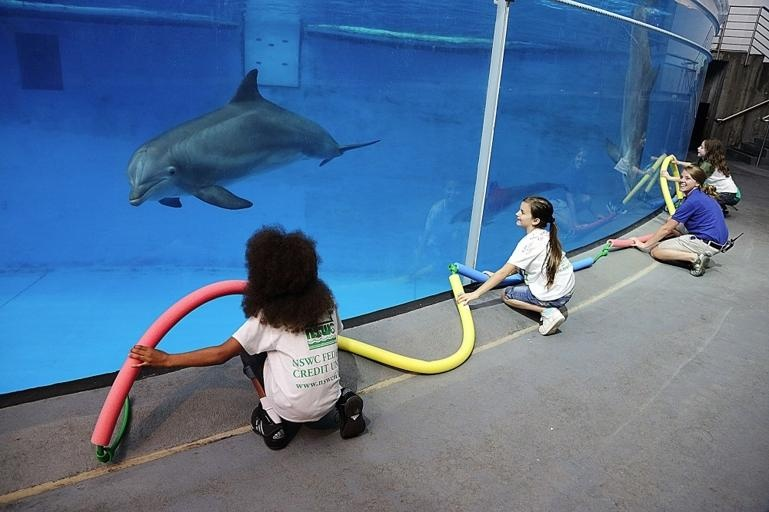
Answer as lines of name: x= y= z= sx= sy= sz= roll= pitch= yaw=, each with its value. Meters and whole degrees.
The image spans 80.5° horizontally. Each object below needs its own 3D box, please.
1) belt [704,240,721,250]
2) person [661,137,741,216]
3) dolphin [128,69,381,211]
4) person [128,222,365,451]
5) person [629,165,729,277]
belt: x=5.164 y=-0.170 z=7.117 sx=0.307 sy=0.149 sz=0.065 roll=-2 pitch=24 yaw=-5
person: x=6.526 y=-1.503 z=9.600 sx=1.609 sy=1.744 sz=0.934 roll=4 pitch=14 yaw=11
dolphin: x=-2.711 y=-2.425 z=9.077 sx=4.834 sy=2.261 sz=2.065 roll=-26 pitch=36 yaw=-32
person: x=-0.971 y=0.762 z=4.031 sx=1.574 sy=1.912 sz=0.638 roll=-1 pitch=24 yaw=-2
person: x=4.905 y=-0.665 z=7.332 sx=1.299 sy=1.454 sz=1.125 roll=-18 pitch=29 yaw=-34
